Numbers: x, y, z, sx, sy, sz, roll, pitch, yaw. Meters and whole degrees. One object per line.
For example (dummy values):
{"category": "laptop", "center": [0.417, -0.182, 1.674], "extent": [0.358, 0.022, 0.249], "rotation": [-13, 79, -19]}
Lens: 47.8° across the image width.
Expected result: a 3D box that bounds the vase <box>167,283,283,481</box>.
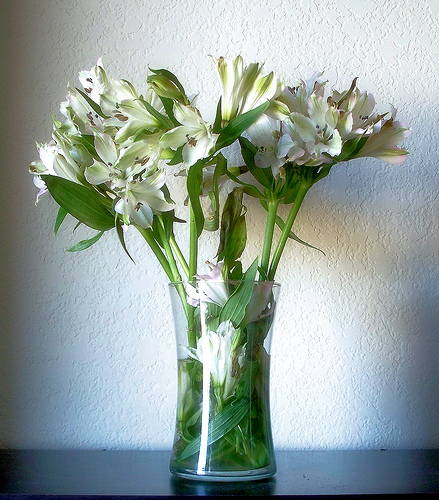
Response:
{"category": "vase", "center": [0.003, 0.171, 0.645], "extent": [0.147, 0.250, 0.180], "rotation": [2, -22, 11]}
